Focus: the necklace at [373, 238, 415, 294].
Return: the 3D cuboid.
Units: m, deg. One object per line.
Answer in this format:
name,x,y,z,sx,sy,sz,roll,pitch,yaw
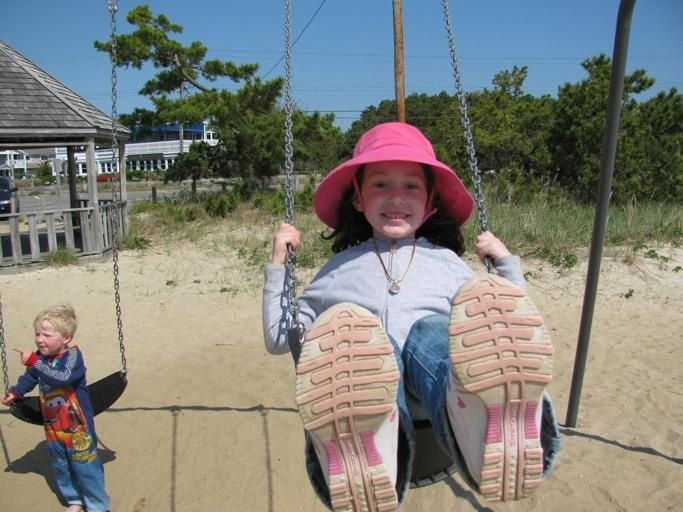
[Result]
necklace,0.351,0.085,4.003,0.176,0.390,0.030,12,37,10
